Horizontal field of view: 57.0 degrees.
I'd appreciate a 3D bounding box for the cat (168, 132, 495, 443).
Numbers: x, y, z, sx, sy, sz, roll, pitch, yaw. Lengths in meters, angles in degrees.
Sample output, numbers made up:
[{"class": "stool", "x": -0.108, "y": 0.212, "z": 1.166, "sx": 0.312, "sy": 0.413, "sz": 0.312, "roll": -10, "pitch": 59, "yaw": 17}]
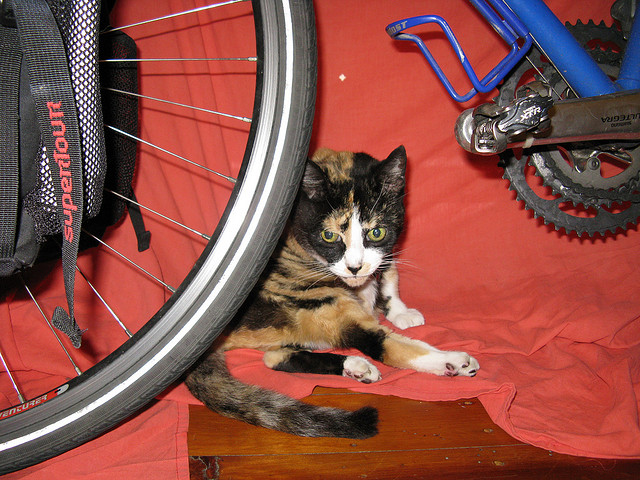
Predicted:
[{"class": "cat", "x": -0.057, "y": 0.068, "z": 2.021, "sx": 1.268, "sy": 0.893, "sz": 0.768, "roll": 1, "pitch": -61, "yaw": 18}]
